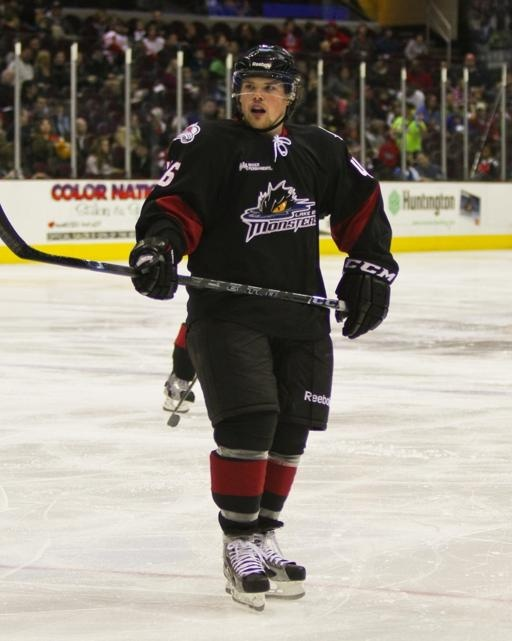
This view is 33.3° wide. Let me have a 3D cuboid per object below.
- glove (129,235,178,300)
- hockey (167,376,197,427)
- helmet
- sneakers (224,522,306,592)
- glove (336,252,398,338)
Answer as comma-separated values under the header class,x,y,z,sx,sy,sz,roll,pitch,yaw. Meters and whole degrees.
class,x,y,z,sx,sy,sz,roll,pitch,yaw
glove,-0.202,-0.109,1.816,0.120,0.118,0.058,10,1,12
hockey,-0.265,0.305,2.976,0.036,0.138,0.153,23,11,-3
helmet,0.036,-0.577,2.013,0.133,0.118,0.148,9,7,20
sneakers,0.057,0.533,1.906,0.108,0.113,0.198,0,7,-6
glove,0.253,-0.050,2.079,0.150,0.171,0.122,15,-20,-14
